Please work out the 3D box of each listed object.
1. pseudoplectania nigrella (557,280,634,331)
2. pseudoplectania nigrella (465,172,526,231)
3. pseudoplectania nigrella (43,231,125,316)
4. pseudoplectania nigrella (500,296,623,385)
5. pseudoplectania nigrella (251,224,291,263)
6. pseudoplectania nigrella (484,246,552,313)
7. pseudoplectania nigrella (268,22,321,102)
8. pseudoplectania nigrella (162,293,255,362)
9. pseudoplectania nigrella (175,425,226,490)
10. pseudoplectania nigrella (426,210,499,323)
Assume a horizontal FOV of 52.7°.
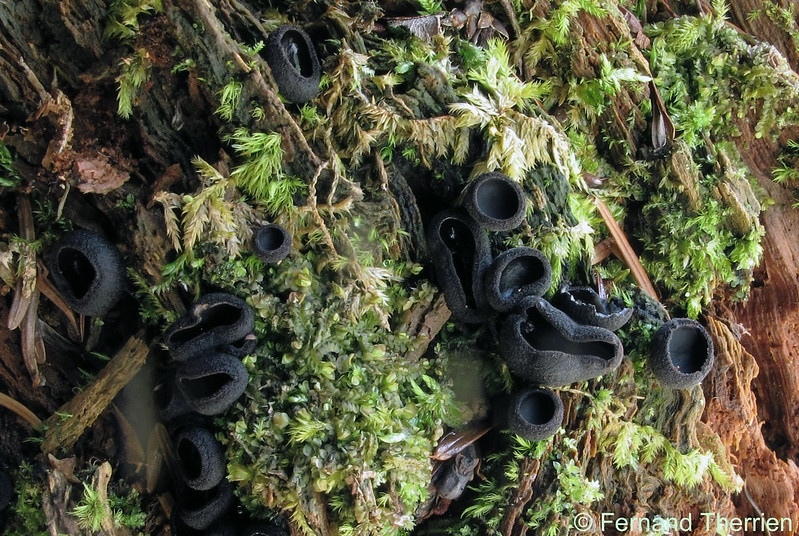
[{"bbox_3d":[1.565,0.267,6.455,0.446,0.196,0.402,31,8,5],"label":"pseudoplectania nigrella"},{"bbox_3d":[0.763,-0.520,6.418,0.487,0.459,0.239,2,-14,4],"label":"pseudoplectania nigrella"},{"bbox_3d":[-2.425,0.020,6.422,0.540,0.682,0.375,-36,4,-1],"label":"pseudoplectania nigrella"},{"bbox_3d":[1.251,0.605,6.207,0.846,0.638,0.393,2,4,11],"label":"pseudoplectania nigrella"},{"bbox_3d":[-0.993,-0.199,6.204,0.301,0.300,0.154,6,-15,-12],"label":"pseudoplectania nigrella"},{"bbox_3d":[0.957,0.134,6.348,0.478,0.563,0.240,33,-25,30],"label":"pseudoplectania nigrella"},{"bbox_3d":[-0.816,-1.584,6.231,0.428,0.573,0.216,-15,3,-35],"label":"pseudoplectania nigrella"},{"bbox_3d":[-1.443,0.440,6.138,0.628,0.503,0.230,-11,-14,-2],"label":"pseudoplectania nigrella"},{"bbox_3d":[-1.539,1.468,6.188,0.409,0.500,0.193,-25,-6,37],"label":"pseudoplectania nigrella"},{"bbox_3d":[0.484,-0.012,6.303,0.488,0.929,0.285,-13,4,-1],"label":"pseudoplectania nigrella"}]
